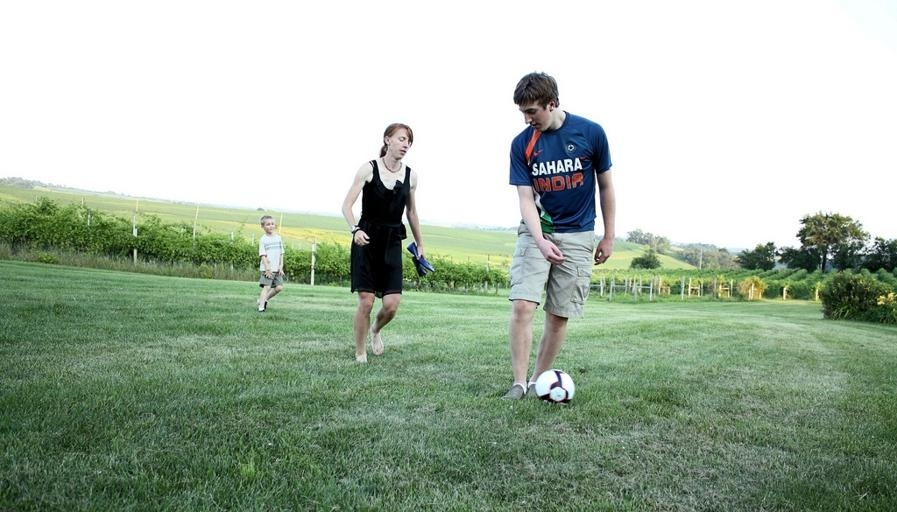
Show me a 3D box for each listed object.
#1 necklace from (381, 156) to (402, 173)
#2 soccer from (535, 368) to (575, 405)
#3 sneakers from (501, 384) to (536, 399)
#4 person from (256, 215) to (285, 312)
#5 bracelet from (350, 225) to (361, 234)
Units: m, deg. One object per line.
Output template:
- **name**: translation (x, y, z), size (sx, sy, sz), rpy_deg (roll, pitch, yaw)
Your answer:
- **necklace**: translation (-1.141, -1.840, 11.379), size (0.273, 0.179, 0.375), rpy_deg (5, -1, -13)
- **soccer**: translation (1.990, 2.329, 10.607), size (0.702, 0.582, 0.611), rpy_deg (1, 23, 5)
- **sneakers**: translation (1.314, 2.484, 10.490), size (0.625, 0.167, 0.240), rpy_deg (-2, 0, -40)
- **person**: translation (-4.946, 0.128, 15.901), size (0.662, 2.400, 1.414), rpy_deg (4, -2, -18)
- **bracelet**: translation (-1.827, -0.535, 11.294), size (0.190, 0.161, 0.232), rpy_deg (4, -1, -12)
